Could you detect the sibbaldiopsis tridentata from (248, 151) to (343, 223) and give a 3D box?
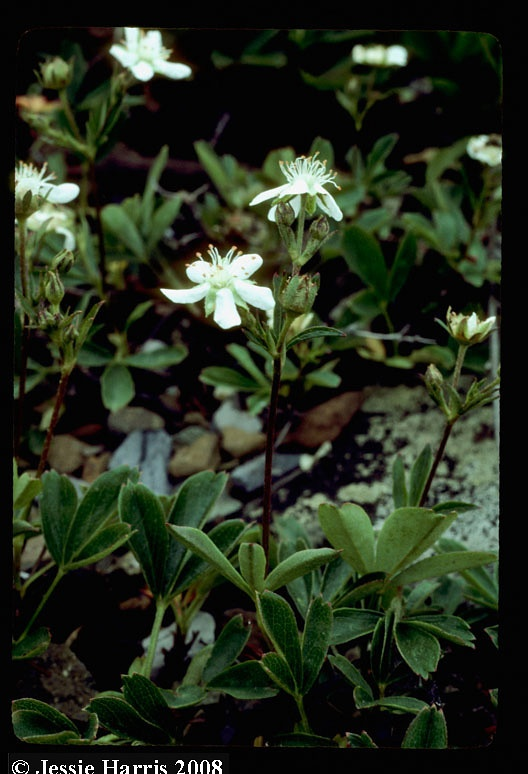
[{"bbox_3d":[0.057,-0.255,0.920,0.090,0.054,0.091,2,-5,-15],"label":"sibbaldiopsis tridentata"}]

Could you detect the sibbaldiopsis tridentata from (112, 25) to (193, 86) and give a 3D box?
[{"bbox_3d":[-0.164,-0.483,1.033,0.086,0.073,0.030,-3,5,-11],"label":"sibbaldiopsis tridentata"}]

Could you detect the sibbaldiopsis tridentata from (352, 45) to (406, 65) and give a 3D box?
[{"bbox_3d":[0.184,-0.515,1.126,0.061,0.018,0.030,2,-36,-3],"label":"sibbaldiopsis tridentata"}]

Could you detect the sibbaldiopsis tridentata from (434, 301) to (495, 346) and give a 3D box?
[{"bbox_3d":[0.277,-0.086,0.984,0.067,0.044,0.074,2,4,-42],"label":"sibbaldiopsis tridentata"}]

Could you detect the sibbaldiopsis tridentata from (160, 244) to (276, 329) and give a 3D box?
[{"bbox_3d":[-0.036,-0.130,0.934,0.131,0.125,0.054,18,-27,11],"label":"sibbaldiopsis tridentata"}]
